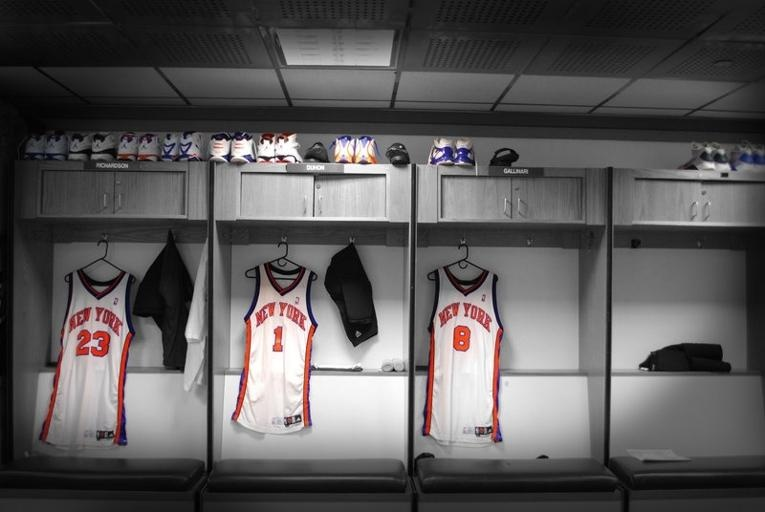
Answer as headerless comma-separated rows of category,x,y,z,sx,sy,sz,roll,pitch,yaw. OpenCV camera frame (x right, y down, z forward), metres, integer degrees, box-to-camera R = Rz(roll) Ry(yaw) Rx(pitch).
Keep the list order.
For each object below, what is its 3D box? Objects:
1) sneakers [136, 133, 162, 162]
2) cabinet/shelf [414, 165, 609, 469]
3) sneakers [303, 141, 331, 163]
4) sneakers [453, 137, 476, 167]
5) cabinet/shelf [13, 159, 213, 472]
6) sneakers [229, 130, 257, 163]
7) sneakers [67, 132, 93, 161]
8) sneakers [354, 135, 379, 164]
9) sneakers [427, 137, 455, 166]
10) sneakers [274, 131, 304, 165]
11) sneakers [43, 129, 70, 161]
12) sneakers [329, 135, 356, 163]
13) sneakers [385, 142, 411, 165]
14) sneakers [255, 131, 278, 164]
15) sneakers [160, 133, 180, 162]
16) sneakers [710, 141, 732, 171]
sneakers,-1.451,-0.665,3.846,0.133,0.174,0.048,1,-7,-5
cabinet/shelf,0.807,0.370,3.923,1.111,1.772,0.599,1,-7,-7
sneakers,-0.400,-0.638,3.892,0.155,0.130,0.083,-7,-12,9
sneakers,0.507,-0.629,3.834,0.128,0.180,0.079,-1,-7,7
cabinet/shelf,-1.677,0.346,3.889,1.171,1.791,0.459,0,-7,-1
sneakers,-0.864,-0.651,3.815,0.141,0.194,0.080,2,-7,-18
sneakers,-1.875,-0.664,3.833,0.159,0.181,0.058,-1,-7,4
sneakers,-0.099,-0.651,3.839,0.121,0.186,0.181,0,-7,6
sneakers,0.366,-0.641,3.853,0.166,0.201,0.115,0,-7,1
sneakers,-0.591,-0.666,3.862,0.177,0.182,0.172,1,-1,7
sneakers,-2.003,-0.670,3.830,0.130,0.187,0.067,3,-8,-26
sneakers,-0.241,-0.662,3.944,0.201,0.210,0.147,1,-2,-6
sneakers,0.089,-0.618,3.794,0.078,0.097,0.223,-5,-6,11
sneakers,-0.747,-0.668,3.889,0.176,0.191,0.084,-7,-10,43
sneakers,-1.330,-0.666,3.857,0.157,0.177,0.060,-3,-8,25
sneakers,2.088,-0.609,3.826,0.120,0.168,0.040,1,-7,-11
